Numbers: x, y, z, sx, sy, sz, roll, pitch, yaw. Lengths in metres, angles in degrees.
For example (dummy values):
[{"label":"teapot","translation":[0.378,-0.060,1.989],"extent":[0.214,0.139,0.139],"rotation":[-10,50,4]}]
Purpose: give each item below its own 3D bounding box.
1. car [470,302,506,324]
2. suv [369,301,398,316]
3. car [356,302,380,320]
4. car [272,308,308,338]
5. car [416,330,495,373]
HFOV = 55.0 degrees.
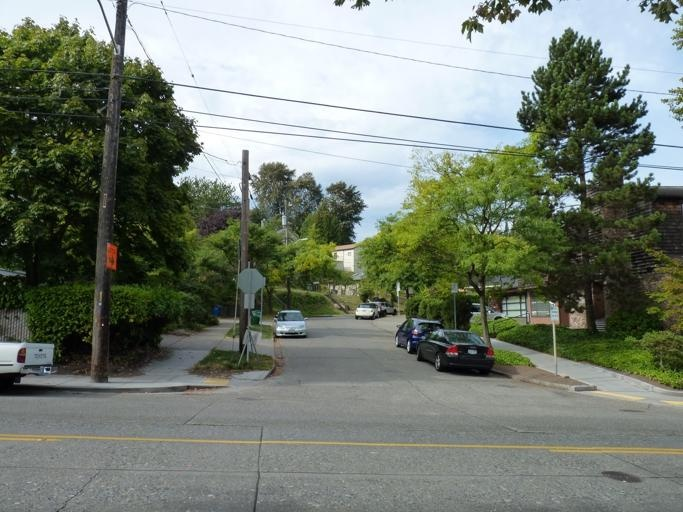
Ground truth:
[{"label":"car","translation":[9.285,3.967,43.224],"extent":[2.430,1.406,1.608],"rotation":[-2,-1,-5]},{"label":"suv","translation":[3.934,4.986,61.944],"extent":[1.325,0.909,2.446],"rotation":[0,2,34]},{"label":"car","translation":[1.974,4.674,55.102],"extent":[1.704,1.029,2.545],"rotation":[1,-1,14]},{"label":"car","translation":[-3.040,3.925,37.851],"extent":[1.458,1.129,3.265],"rotation":[0,-8,-4]},{"label":"car","translation":[4.066,3.531,24.796],"extent":[1.223,0.898,2.986],"rotation":[3,-3,-8]}]
